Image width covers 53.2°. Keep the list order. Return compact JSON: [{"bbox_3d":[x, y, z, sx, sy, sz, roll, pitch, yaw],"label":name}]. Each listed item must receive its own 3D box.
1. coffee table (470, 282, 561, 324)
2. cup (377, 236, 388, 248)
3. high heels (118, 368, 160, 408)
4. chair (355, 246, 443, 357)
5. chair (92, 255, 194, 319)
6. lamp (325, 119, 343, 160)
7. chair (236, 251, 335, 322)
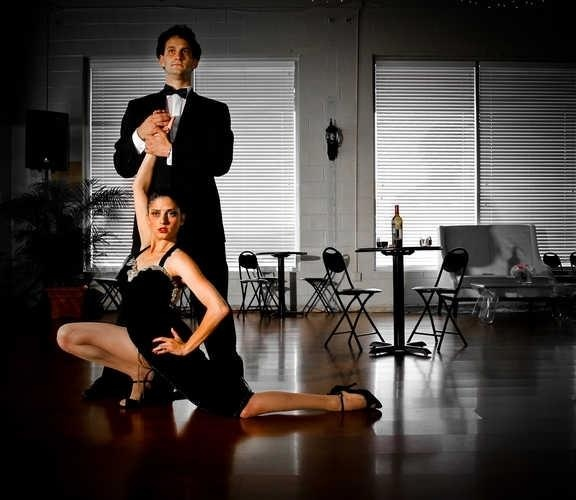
[{"bbox_3d":[2.640,0.574,6.774,0.957,0.471,1.532,2,3,31],"label":"coffee table"},{"bbox_3d":[1.023,-0.086,6.306,0.127,0.131,0.225,2,8,6],"label":"cup"},{"bbox_3d":[-0.839,0.772,3.334,0.108,0.143,0.331,3,16,18],"label":"high heels"},{"bbox_3d":[1.004,0.422,5.135,0.835,0.955,0.826,-1,-1,17],"label":"chair"},{"bbox_3d":[-1.066,0.298,4.105,0.944,0.539,0.251,-2,-18,11],"label":"chair"},{"bbox_3d":[0.611,-1.470,7.716,0.258,0.521,0.136,2,5,1],"label":"lamp"},{"bbox_3d":[-0.280,0.483,7.555,0.933,0.678,0.957,0,1,5],"label":"chair"}]
